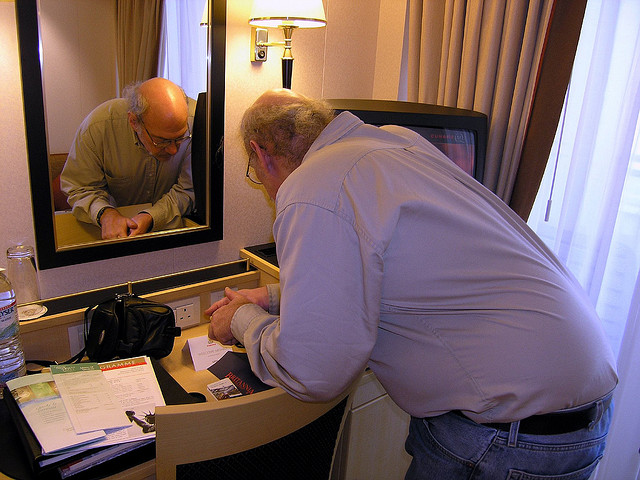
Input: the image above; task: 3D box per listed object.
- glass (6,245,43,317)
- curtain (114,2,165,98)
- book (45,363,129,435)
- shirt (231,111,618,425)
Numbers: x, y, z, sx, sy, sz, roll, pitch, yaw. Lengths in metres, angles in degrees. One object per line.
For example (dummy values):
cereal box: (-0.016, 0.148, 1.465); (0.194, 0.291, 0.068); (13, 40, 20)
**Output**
glass: (-1.042, 0.137, 1.750); (0.094, 0.238, 0.119); (-14, 24, -33)
curtain: (-0.664, -0.728, 1.847); (0.206, 0.305, 0.028); (-19, 27, -41)
book: (-0.719, 0.487, 1.546); (0.332, 0.015, 0.184); (32, 10, 39)
shirt: (0.319, 0.119, 1.390); (0.853, 0.729, 0.772); (3, 12, 25)
